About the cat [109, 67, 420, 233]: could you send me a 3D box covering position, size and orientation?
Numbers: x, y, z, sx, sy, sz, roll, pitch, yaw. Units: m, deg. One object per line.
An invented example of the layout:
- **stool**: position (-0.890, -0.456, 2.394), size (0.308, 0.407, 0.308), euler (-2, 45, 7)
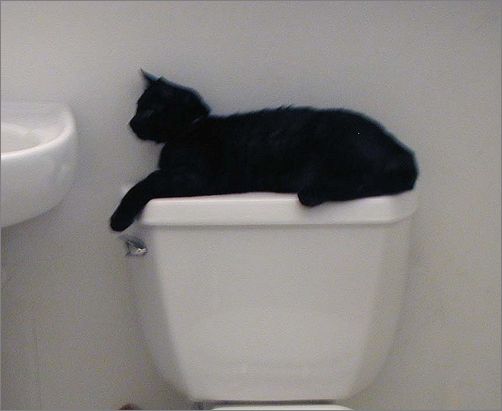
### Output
- **cat**: position (0.017, -0.068, 1.005), size (0.616, 0.313, 0.208), euler (-3, 0, 5)
